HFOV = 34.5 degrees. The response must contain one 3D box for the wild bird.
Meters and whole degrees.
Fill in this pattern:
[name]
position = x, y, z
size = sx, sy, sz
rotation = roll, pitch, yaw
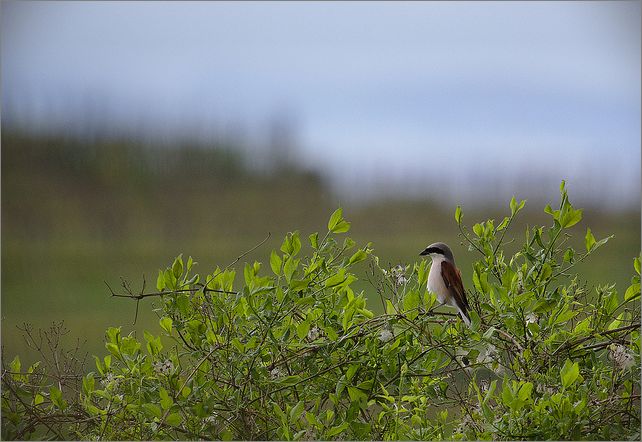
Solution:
[wild bird]
position = 0.636, 0.311, 5.149
size = 0.165, 0.378, 0.355
rotation = -9, 15, -33
